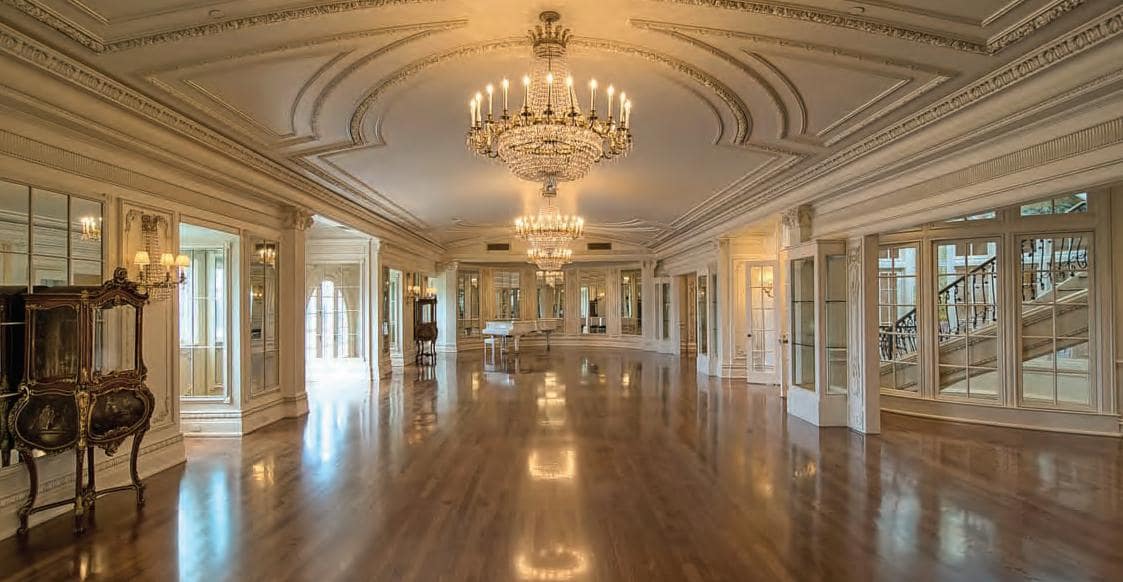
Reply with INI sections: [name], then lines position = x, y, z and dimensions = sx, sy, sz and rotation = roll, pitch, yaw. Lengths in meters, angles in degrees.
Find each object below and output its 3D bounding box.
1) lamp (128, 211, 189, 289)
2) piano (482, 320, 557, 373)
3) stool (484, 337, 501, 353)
[lamp]
position = -6.164, -0.599, 9.828
dimensions = 0.425, 1.226, 0.697
rotation = 4, 5, 42
[piano]
position = -1.400, 1.622, 20.928
dimensions = 1.325, 1.031, 2.067
rotation = -4, -6, 29
[stool]
position = -2.277, 1.869, 21.853
dimensions = 0.551, 0.455, 0.531
rotation = -1, -5, -1
